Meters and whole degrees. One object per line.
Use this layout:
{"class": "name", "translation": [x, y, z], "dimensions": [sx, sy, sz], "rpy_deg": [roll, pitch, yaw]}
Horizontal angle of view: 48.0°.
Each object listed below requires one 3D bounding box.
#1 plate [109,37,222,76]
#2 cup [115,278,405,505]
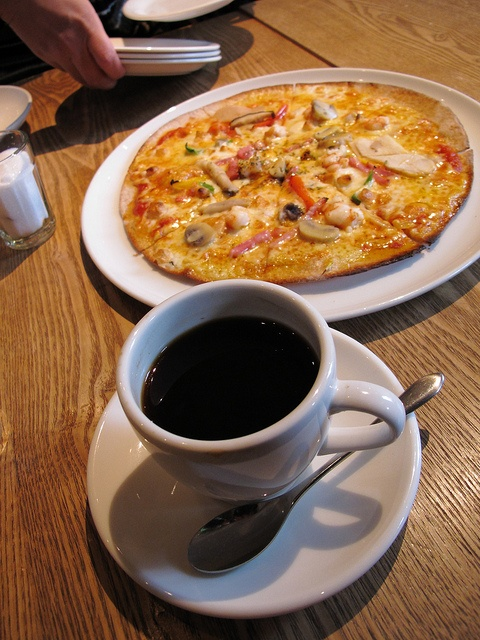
{"class": "plate", "translation": [-0.184, -0.676, 1.380], "dimensions": [0.194, 0.036, 0.184], "rpy_deg": [-6, 35, -10]}
{"class": "cup", "translation": [0.008, 0.066, 0.498], "dimensions": [0.225, 0.155, 0.170], "rpy_deg": [-12, 48, -11]}
